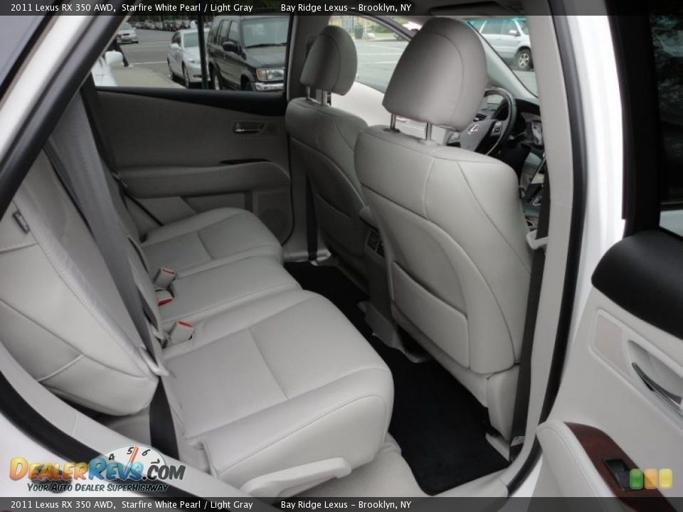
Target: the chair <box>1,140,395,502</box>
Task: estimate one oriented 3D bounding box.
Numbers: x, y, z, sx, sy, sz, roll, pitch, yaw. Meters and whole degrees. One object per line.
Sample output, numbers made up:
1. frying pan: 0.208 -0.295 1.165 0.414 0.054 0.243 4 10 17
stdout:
1. chair: -0.289 0.168 1.345 0.739 1.025 1.052 -16 30 -13
